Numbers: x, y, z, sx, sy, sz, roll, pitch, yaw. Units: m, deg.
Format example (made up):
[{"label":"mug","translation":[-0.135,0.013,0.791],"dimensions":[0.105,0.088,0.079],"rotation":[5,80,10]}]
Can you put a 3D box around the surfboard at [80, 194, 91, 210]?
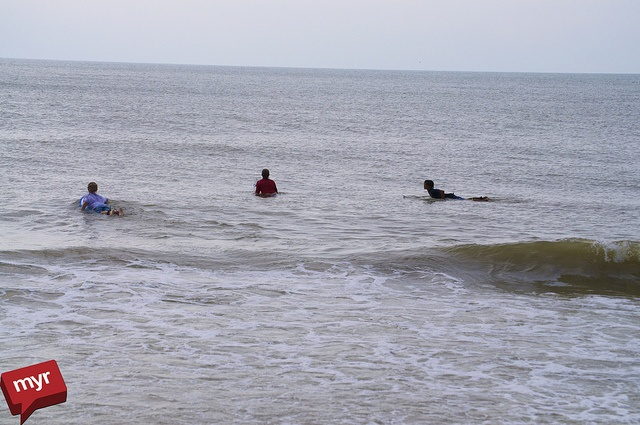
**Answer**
[{"label":"surfboard","translation":[-9.509,-0.396,39.520],"dimensions":[0.244,0.506,0.613],"rotation":[20,-18,-3]}]

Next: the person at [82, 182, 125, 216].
[{"label":"person","translation":[-8.853,-0.530,39.348],"dimensions":[1.781,1.228,0.860],"rotation":[9,21,27]}]

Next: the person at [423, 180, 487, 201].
[{"label":"person","translation":[5.753,-0.973,43.833],"dimensions":[2.238,0.561,1.190],"rotation":[1,2,14]}]

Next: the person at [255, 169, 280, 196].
[{"label":"person","translation":[-2.424,-1.288,43.296],"dimensions":[0.789,1.175,0.624],"rotation":[-14,25,-37]}]
